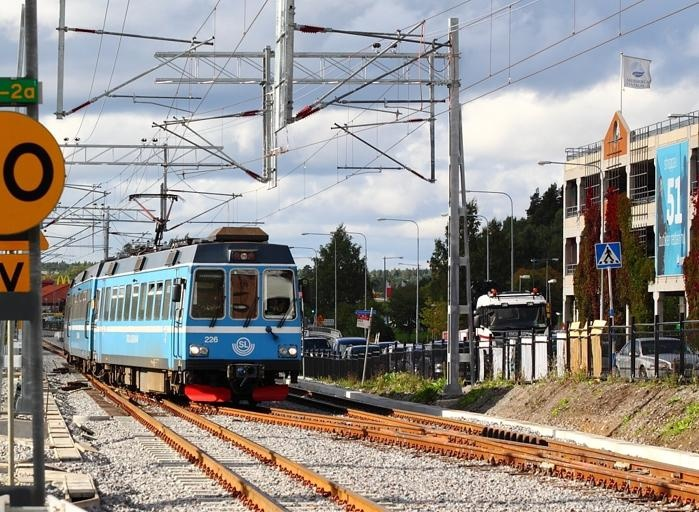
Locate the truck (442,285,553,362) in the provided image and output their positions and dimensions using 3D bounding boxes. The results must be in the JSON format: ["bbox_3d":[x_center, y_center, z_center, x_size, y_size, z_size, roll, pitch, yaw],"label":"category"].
[{"bbox_3d":[5.802,2.478,42.935,2.651,2.603,3.902,1,-4,-11],"label":"truck"}]

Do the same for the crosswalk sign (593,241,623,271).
[{"bbox_3d":[6.992,-0.037,32.047,0.642,0.889,2.334,-4,-9,11],"label":"crosswalk sign"}]

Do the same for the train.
[{"bbox_3d":[-5.995,2.291,37.095,4.051,5.402,25.962,1,-9,-22],"label":"train"}]
